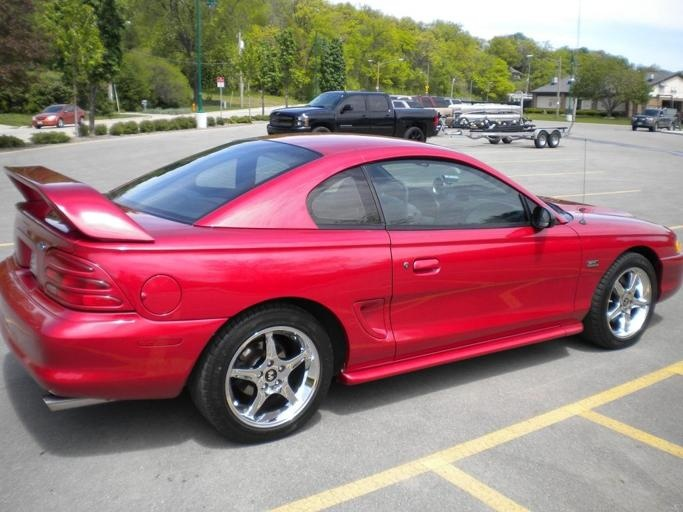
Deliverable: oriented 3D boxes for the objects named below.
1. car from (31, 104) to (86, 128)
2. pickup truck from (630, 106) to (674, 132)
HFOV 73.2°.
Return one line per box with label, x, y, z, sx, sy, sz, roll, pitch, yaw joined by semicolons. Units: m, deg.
car;-23.491;-11.354;37.701;1.495;1.809;3.012;4;19;17
pickup truck;33.282;-14.323;48.962;5.177;1.899;2.616;-5;9;-27
